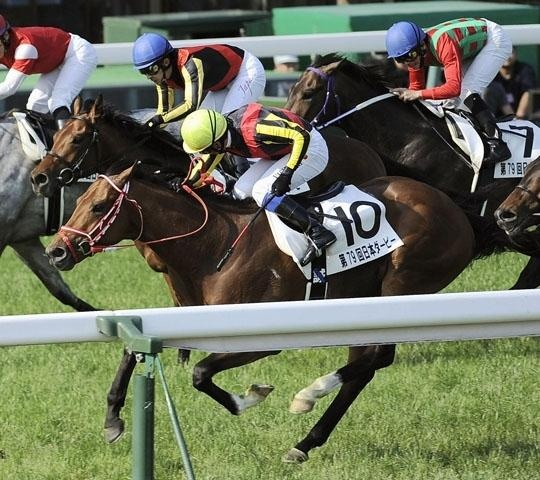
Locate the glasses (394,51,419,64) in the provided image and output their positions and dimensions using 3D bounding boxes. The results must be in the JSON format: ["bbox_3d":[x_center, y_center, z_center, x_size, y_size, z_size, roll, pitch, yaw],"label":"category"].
[{"bbox_3d":[0.800,-1.081,4.646,0.089,0.040,0.063,-7,-27,-35],"label":"glasses"}]

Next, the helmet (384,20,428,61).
[{"bbox_3d":[0.798,-1.178,4.634,0.225,0.213,0.184,0,15,8],"label":"helmet"}]

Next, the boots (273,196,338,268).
[{"bbox_3d":[0.135,-0.052,3.342,0.223,0.275,0.289,-8,16,-20],"label":"boots"}]

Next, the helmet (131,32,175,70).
[{"bbox_3d":[-0.597,-0.975,4.070,0.204,0.182,0.173,-3,15,-6],"label":"helmet"}]

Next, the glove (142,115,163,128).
[{"bbox_3d":[-0.610,-0.624,4.154,0.103,0.047,0.038,-16,-23,25],"label":"glove"}]

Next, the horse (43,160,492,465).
[{"bbox_3d":[0.058,0.272,3.360,1.760,1.199,0.694,-7,17,-21],"label":"horse"}]
